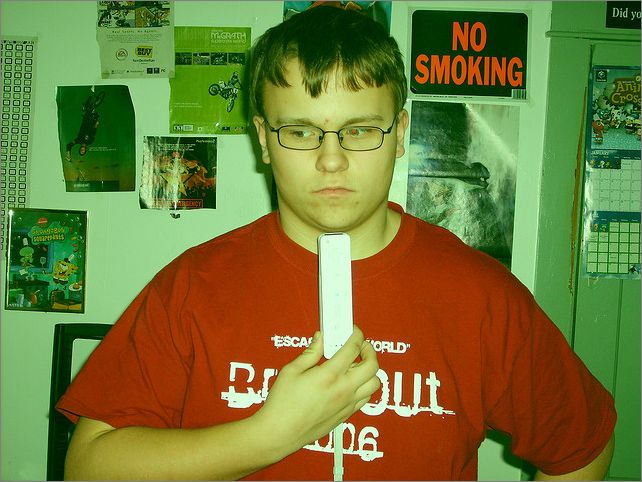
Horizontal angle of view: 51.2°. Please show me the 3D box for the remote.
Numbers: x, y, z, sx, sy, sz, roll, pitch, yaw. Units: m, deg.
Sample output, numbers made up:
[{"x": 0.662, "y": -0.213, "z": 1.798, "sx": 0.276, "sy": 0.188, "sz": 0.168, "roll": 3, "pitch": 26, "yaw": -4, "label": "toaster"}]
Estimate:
[{"x": 0.044, "y": 0.141, "z": 1.759, "sx": 0.100, "sy": 0.321, "sz": 0.086, "roll": -1, "pitch": 3, "yaw": -16, "label": "remote"}]

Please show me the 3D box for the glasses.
[{"x": 0.024, "y": -0.273, "z": 1.784, "sx": 0.317, "sy": 0.074, "sz": 0.047, "roll": 0, "pitch": 3, "yaw": 2, "label": "glasses"}]
